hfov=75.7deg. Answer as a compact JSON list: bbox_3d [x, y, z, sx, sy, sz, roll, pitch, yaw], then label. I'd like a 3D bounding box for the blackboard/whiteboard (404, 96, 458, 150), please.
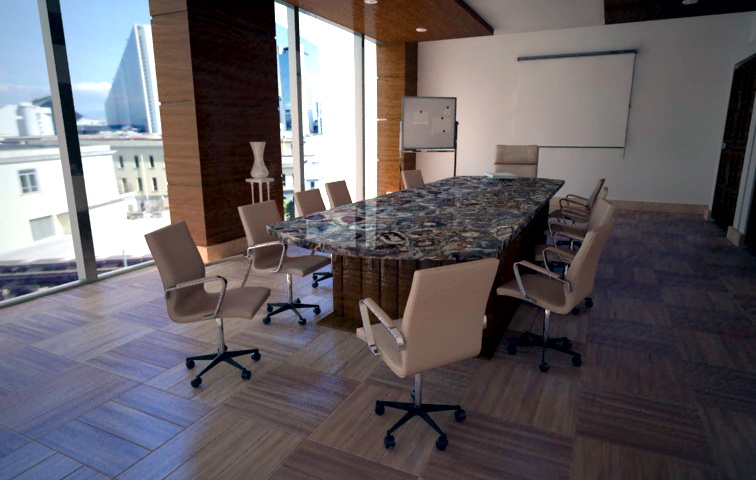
[{"bbox_3d":[0.976,-2.177,9.115,1.023,0.991,0.261,-1,18,4],"label":"blackboard/whiteboard"}]

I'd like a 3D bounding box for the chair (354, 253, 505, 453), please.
[{"bbox_3d":[0.449,0.969,4.110,1.144,1.630,0.480,-3,18,-2],"label":"chair"}]

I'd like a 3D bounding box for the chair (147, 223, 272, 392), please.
[{"bbox_3d":[-1.628,0.626,4.897,1.122,1.423,1.031,0,10,-8],"label":"chair"}]
